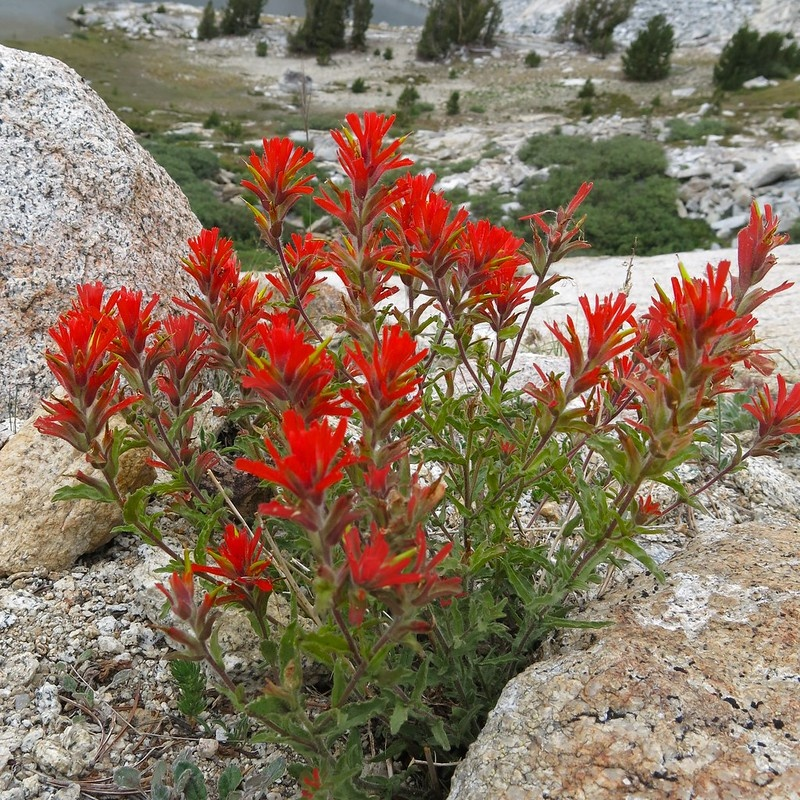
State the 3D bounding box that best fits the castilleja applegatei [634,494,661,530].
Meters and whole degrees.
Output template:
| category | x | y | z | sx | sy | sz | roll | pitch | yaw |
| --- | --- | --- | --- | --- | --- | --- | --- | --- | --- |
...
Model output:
| category | x | y | z | sx | sy | sz | roll | pitch | yaw |
| --- | --- | --- | --- | --- | --- | --- | --- | --- | --- |
| castilleja applegatei | 0.885 | 0.396 | 3.797 | 0.100 | 0.066 | 0.108 | 39 | 33 | -24 |
